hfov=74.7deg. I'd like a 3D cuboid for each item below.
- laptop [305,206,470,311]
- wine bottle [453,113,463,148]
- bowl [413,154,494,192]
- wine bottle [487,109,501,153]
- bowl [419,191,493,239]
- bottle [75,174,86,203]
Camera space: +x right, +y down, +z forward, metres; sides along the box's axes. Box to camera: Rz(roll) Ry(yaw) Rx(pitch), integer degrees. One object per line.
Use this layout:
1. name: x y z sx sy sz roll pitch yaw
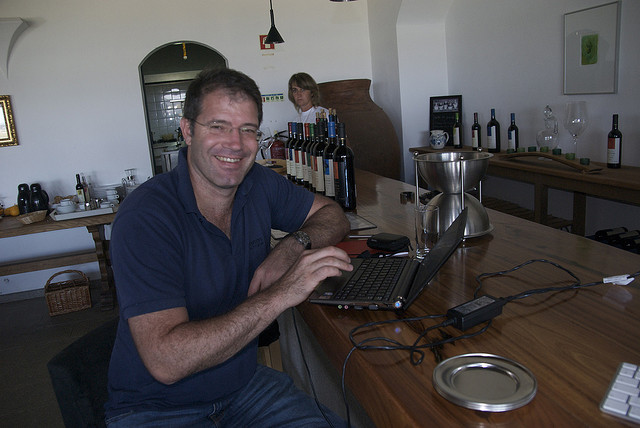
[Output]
1. laptop: 0.207 0.174 1.325 0.361 0.174 0.359 3 16 14
2. wine bottle: 1.459 -0.881 4.416 0.084 0.354 0.188 -3 14 18
3. bowl: 0.539 -0.144 1.676 0.334 0.133 0.338 3 -8 0
4. wine bottle: 1.655 -0.796 3.971 0.125 0.411 0.121 -5 10 1
5. bowl: 0.579 0.001 1.670 0.263 0.113 0.261 -8 17 2
6. bottle: -2.453 -0.261 4.259 0.078 0.273 0.297 -15 16 -29
